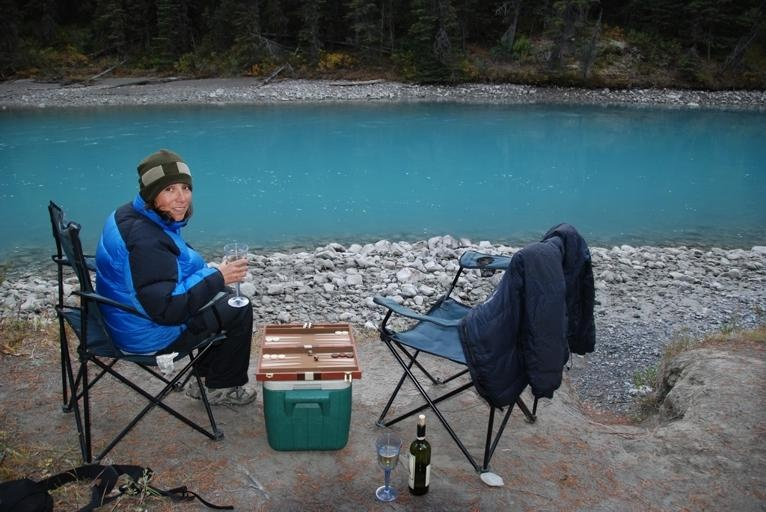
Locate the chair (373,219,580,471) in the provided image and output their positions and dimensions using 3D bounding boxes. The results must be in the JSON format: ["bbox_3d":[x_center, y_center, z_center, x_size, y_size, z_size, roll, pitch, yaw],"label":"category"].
[{"bbox_3d":[0.907,0.698,5.296,1.900,1.889,1.878,1,13,13],"label":"chair"}]

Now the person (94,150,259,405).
[{"bbox_3d":[-1.751,0.308,4.981,1.330,2.038,1.128,1,18,-10],"label":"person"}]

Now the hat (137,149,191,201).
[{"bbox_3d":[-1.774,-0.657,4.747,0.456,0.421,0.450,-11,14,-9],"label":"hat"}]

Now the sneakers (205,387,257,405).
[{"bbox_3d":[-1.314,1.248,5.175,0.423,0.184,0.163,-2,5,-7],"label":"sneakers"}]

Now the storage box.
[{"bbox_3d":[-0.605,1.295,4.696,0.739,0.511,0.589,0,-5,-2],"label":"storage box"}]
